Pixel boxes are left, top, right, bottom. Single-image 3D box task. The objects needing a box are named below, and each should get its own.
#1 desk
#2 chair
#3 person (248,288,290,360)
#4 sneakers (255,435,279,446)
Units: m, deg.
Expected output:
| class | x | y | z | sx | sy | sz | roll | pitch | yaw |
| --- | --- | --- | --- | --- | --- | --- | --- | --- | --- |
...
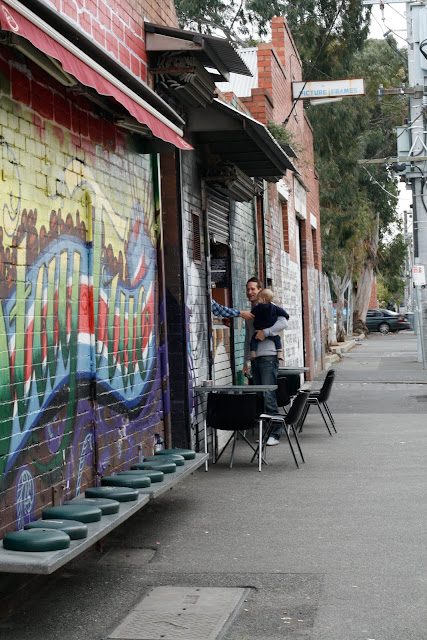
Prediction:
| class | x | y | z | sx | sy | sz | roll | pitch | yaw |
| --- | --- | --- | --- | --- | --- | --- | --- | --- | --- |
| desk | 0.276 | 1.278 | 7.230 | 0.982 | 1.163 | 0.966 | 1 | 4 | 12 |
| chair | 0.458 | 1.134 | 7.125 | 1.347 | 0.972 | 1.283 | -2 | 0 | 21 |
| person | 0.748 | 0.042 | 8.177 | 0.520 | 0.983 | 0.392 | -2 | -5 | 7 |
| sneakers | 0.805 | 1.761 | 8.615 | 0.162 | 0.197 | 0.441 | -3 | -10 | 24 |
